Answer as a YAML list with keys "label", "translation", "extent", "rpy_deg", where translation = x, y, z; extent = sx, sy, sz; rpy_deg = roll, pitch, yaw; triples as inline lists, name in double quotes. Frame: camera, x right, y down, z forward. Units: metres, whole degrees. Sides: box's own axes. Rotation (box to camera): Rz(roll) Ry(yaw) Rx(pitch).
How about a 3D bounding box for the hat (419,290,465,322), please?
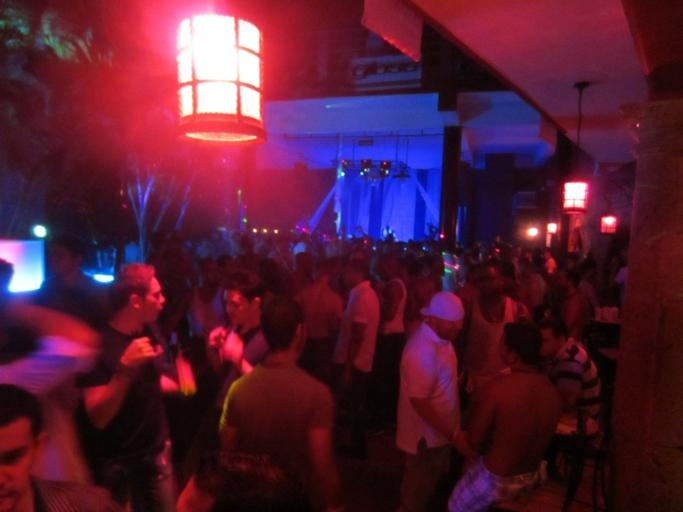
- label: "hat"
  translation: [0.758, 0.378, 4.252]
  extent: [0.249, 0.154, 0.183]
  rpy_deg: [15, 11, 34]

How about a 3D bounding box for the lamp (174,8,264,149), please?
- label: "lamp"
  translation: [-0.650, -0.986, 3.331]
  extent: [0.544, 0.669, 0.581]
  rpy_deg: [3, 5, 32]
